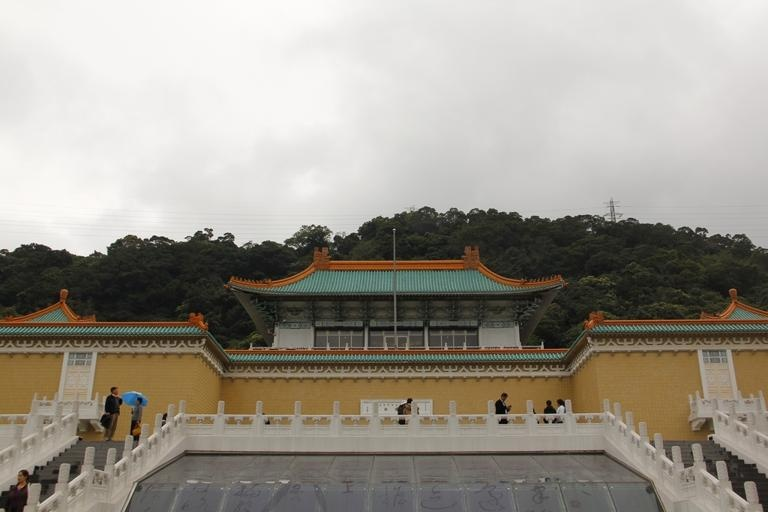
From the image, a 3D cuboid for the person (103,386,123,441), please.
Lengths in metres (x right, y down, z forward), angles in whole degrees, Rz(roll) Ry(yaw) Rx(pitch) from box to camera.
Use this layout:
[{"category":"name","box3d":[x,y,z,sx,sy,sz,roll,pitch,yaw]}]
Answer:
[{"category":"person","box3d":[-8.480,4.915,21.554,0.543,1.687,1.356,2,-8,-20]}]

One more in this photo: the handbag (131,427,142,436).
[{"category":"handbag","box3d":[-7.558,5.364,21.161,0.316,0.283,0.288,1,-31,-21]}]

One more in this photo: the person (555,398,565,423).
[{"category":"person","box3d":[5.774,5.034,22.551,0.300,0.626,1.614,-2,-7,13]}]
